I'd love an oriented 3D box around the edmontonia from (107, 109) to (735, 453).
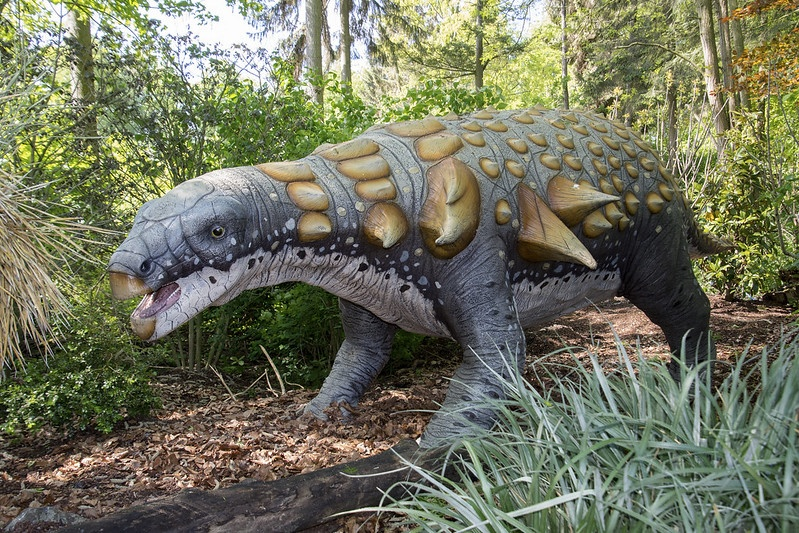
[{"bbox_3d":[0.554,0.020,4.967,4.672,1.926,1.924,-8,15,-26],"label":"edmontonia"}]
